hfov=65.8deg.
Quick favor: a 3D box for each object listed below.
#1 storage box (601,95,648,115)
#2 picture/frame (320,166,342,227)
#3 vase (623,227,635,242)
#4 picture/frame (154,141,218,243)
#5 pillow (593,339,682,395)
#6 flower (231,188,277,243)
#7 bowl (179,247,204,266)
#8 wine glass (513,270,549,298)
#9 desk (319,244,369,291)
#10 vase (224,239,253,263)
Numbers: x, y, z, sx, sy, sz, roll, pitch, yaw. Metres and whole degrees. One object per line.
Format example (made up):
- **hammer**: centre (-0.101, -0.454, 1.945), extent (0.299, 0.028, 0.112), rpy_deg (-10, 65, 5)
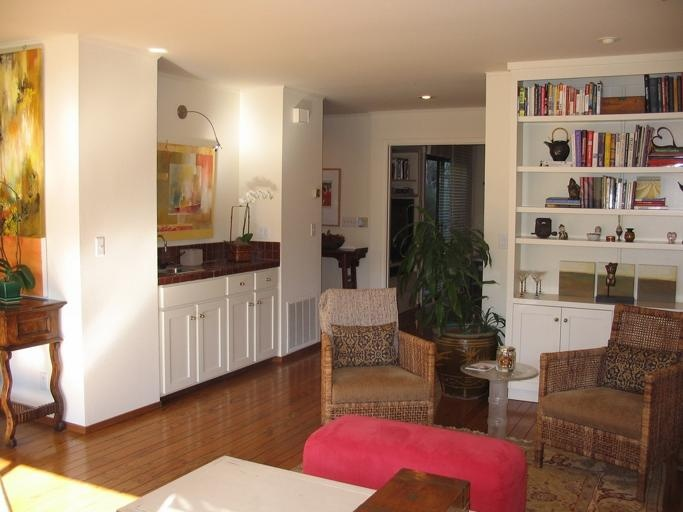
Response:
- **storage box**: centre (2.471, -1.323, 4.631), extent (0.271, 0.124, 0.192), rpy_deg (2, 5, 21)
- **picture/frame**: centre (-0.147, -0.885, 7.885), extent (0.314, 0.865, 0.063), rpy_deg (4, 7, 26)
- **vase**: centre (2.564, -0.200, 4.738), extent (0.111, 0.141, 0.109), rpy_deg (1, -3, 1)
- **picture/frame**: centre (-1.632, -0.688, 5.438), extent (0.099, 0.978, 0.913), rpy_deg (1, -12, 31)
- **pillow**: centre (2.054, 0.779, 3.727), extent (0.131, 0.305, 0.468), rpy_deg (22, -14, -40)
- **flower**: centre (-1.020, -0.479, 6.002), extent (0.554, 0.613, 0.125), rpy_deg (4, 8, 29)
- **bowl**: centre (-1.551, -0.005, 5.472), extent (0.174, 0.139, 0.181), rpy_deg (-1, 4, 0)
- **wine glass**: centre (1.813, 0.259, 5.055), extent (0.267, 0.217, 0.255), rpy_deg (-1, -3, 17)
- **desk**: centre (0.089, 0.155, 7.482), extent (0.580, 0.616, 0.594), rpy_deg (6, 12, 38)
- **vase**: centre (-1.143, -0.059, 5.831), extent (0.217, 0.219, 0.312), rpy_deg (-1, 0, 29)
